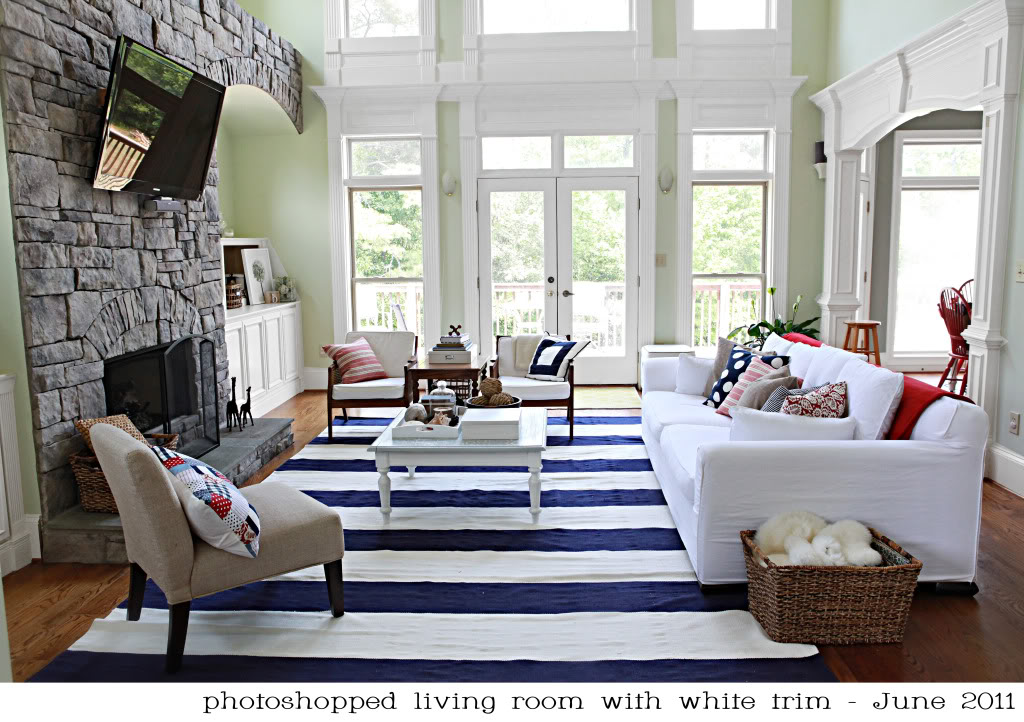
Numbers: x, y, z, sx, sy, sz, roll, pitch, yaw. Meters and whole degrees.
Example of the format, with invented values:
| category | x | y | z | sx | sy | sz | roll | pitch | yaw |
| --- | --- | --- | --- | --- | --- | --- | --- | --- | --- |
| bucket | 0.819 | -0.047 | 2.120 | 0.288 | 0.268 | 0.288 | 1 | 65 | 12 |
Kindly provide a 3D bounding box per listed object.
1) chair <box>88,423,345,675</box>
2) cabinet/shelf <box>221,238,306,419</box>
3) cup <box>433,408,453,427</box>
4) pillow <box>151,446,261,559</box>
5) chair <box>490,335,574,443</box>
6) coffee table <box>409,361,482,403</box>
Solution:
| category | x | y | z | sx | sy | sz | roll | pitch | yaw |
| --- | --- | --- | --- | --- | --- | --- | --- | --- | --- |
| chair | -1.325 | 0.845 | 3.457 | 0.970 | 0.978 | 0.768 | -7 | 4 | -36 |
| cabinet/shelf | -2.479 | -0.327 | 6.976 | 0.458 | 1.664 | 1.723 | 0 | 7 | -3 |
| cup | -0.454 | 0.363 | 4.545 | 0.103 | 0.059 | 0.138 | 0 | 5 | 0 |
| pillow | -1.438 | 0.645 | 3.332 | 0.367 | 0.285 | 0.808 | 5 | 10 | -40 |
| chair | 0.154 | 0.191 | 6.077 | 0.757 | 1.035 | 0.851 | 0 | 3 | 4 |
| coffee table | -0.557 | 0.143 | 6.096 | 0.421 | 0.384 | 0.419 | 1 | 4 | 8 |
